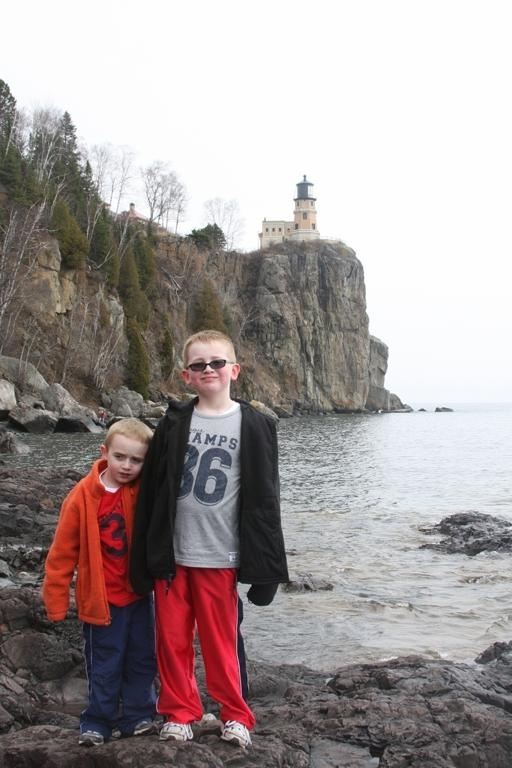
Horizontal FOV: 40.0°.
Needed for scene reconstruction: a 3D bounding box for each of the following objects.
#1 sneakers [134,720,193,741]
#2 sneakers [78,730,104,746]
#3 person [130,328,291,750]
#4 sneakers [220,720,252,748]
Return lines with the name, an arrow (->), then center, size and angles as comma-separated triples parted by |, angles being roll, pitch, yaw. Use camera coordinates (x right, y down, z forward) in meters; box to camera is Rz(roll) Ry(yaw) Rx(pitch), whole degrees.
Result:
sneakers -> -0.401, 1.501, 3.049 | 0.233, 0.104, 0.077 | -12, -19, 37
sneakers -> -0.692, 1.498, 2.946 | 0.109, 0.049, 0.121 | 4, 0, -12
person -> -0.213, 0.646, 3.163 | 0.621, 1.698, 0.535 | 4, 1, 29
sneakers -> -0.080, 1.494, 3.018 | 0.069, 0.067, 0.149 | 3, 8, -22
